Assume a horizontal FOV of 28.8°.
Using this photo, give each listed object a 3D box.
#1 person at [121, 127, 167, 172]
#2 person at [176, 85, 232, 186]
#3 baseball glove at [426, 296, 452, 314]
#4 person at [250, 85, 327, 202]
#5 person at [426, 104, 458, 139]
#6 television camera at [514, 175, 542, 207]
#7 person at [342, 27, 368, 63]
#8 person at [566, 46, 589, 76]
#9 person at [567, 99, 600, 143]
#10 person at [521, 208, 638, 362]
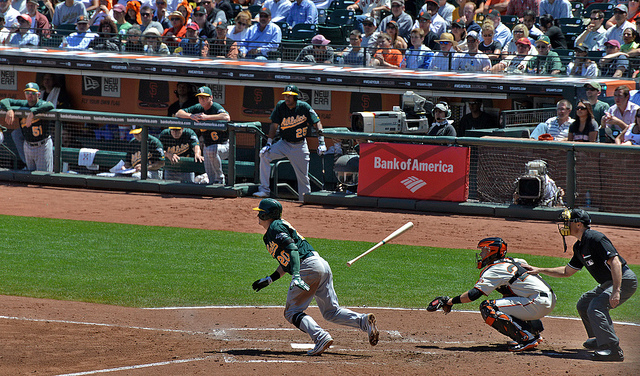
[{"bbox_3d":[-4.553,-0.995,31.305,1.297,1.130,0.600,5,7,39],"label":"person"},{"bbox_3d":[-2.790,-1.303,30.775,1.243,2.418,0.564,3,6,22],"label":"person"},{"bbox_3d":[2.238,2.218,23.900,0.439,0.321,0.400,0,5,-6],"label":"baseball glove"},{"bbox_3d":[-0.788,-1.112,30.120,1.498,2.786,0.943,1,5,6],"label":"person"},{"bbox_3d":[2.953,-1.644,30.334,0.623,0.874,0.984,7,0,-40],"label":"person"},{"bbox_3d":[4.893,0.018,29.465,0.886,0.790,0.681,2,5,21],"label":"television camera"},{"bbox_3d":[0.955,-3.637,32.270,1.009,0.924,0.471,8,14,41],"label":"person"},{"bbox_3d":[6.329,-3.182,30.757,0.514,0.743,1.131,2,5,12],"label":"person"},{"bbox_3d":[6.136,-1.601,29.244,0.713,0.963,0.455,3,6,22],"label":"person"},{"bbox_3d":[5.209,1.824,23.739,1.582,2.827,0.758,1,6,10],"label":"person"}]
